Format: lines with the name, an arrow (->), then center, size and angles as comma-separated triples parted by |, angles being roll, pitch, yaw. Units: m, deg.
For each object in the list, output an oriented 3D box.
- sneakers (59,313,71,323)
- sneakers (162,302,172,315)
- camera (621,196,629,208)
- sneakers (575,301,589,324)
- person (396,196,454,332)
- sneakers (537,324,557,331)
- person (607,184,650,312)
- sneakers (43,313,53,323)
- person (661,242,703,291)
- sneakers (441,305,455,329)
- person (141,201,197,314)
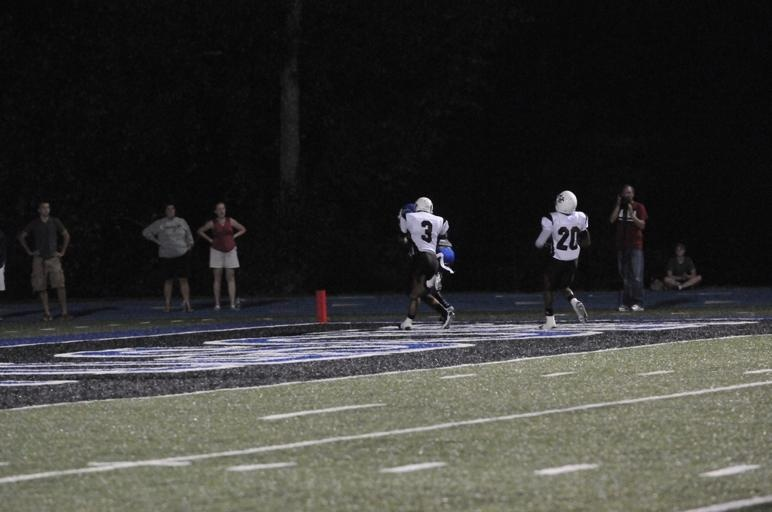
sneakers -> -7.197, 1.374, 16.672 | 0.122, 0.142, 0.333 | -1, -3, -36
sneakers -> -5.355, 1.256, 18.156 | 0.183, 0.230, 0.598 | 0, -4, -4
camera -> 5.160, -1.169, 16.148 | 0.095, 0.214, 0.257 | -2, -3, -19
sneakers -> 3.769, 1.094, 14.406 | 0.172, 0.455, 0.196 | -29, 13, -20
person -> 0.685, 0.120, 13.294 | 0.880, 2.395, 0.883 | -3, -3, 2
sneakers -> 2.813, 1.231, 13.084 | 0.286, 0.119, 0.102 | 4, 8, 16
person -> 5.362, -0.149, 16.350 | 0.685, 2.722, 1.032 | -4, -3, 17
sneakers -> -7.641, 1.399, 16.846 | 0.176, 0.141, 0.475 | -4, 1, -8
person -> 8.172, 0.327, 20.685 | 0.992, 1.216, 1.195 | -2, 12, 14
sneakers -> 1.087, 1.129, 13.423 | 0.224, 0.479, 0.179 | 15, 26, 10
person -> -5.168, 0.015, 17.934 | 0.962, 2.653, 1.427 | -1, -3, -36
